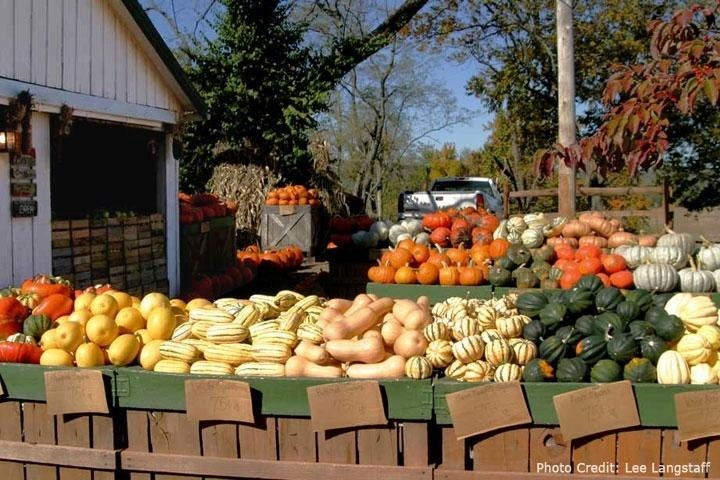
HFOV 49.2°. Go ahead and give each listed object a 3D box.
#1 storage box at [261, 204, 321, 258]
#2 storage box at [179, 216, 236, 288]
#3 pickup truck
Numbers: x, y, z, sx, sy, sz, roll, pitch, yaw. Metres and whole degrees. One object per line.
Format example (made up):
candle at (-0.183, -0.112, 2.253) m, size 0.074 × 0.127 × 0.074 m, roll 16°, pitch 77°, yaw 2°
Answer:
storage box at (-1.563, -0.191, 17.547) m, size 0.963 × 1.115 × 1.039 m, roll -1°, pitch -2°, yaw 4°
storage box at (-2.903, 0.137, 14.382) m, size 0.851 × 1.243 × 1.682 m, roll -1°, pitch 4°, yaw 13°
pickup truck at (2.428, -1.120, 19.241) m, size 1.205 × 1.001 × 2.211 m, roll 1°, pitch 9°, yaw 26°
